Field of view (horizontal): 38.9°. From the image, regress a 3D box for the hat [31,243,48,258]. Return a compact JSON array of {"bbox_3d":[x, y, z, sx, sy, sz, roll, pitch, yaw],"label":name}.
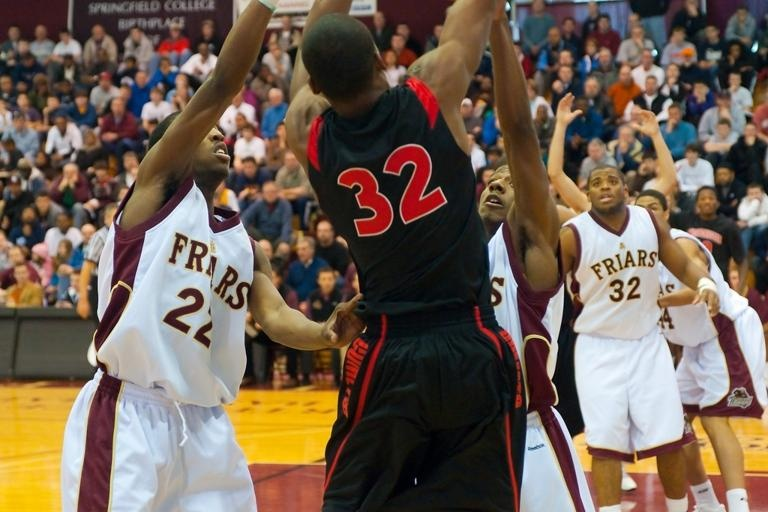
[{"bbox_3d":[-5.667,-0.077,17.805,0.274,0.333,0.549,0,-10,-19],"label":"hat"}]
